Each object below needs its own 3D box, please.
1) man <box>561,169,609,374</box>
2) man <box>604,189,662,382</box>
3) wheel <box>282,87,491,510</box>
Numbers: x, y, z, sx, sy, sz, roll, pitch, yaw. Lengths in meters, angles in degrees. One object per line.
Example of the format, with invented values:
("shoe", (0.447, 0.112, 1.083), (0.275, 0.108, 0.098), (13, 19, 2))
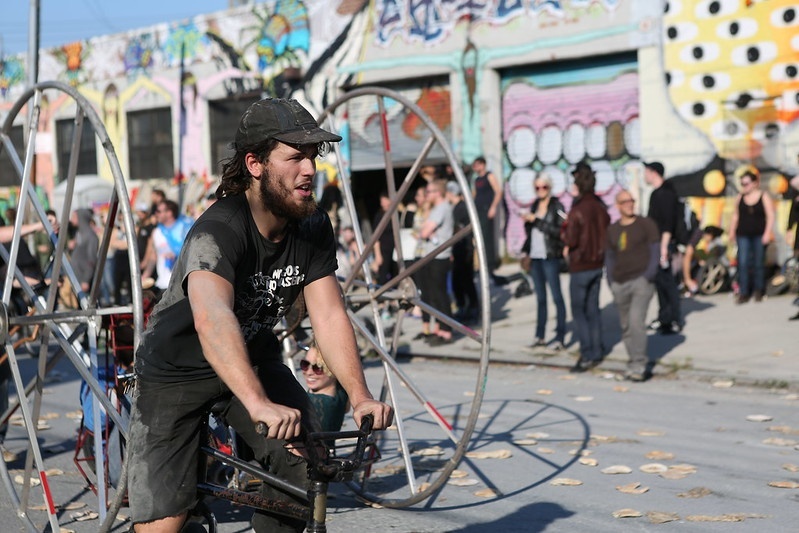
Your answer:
("man", (3.015, 0.002, 25.916), (0.725, 3.334, 0.456), (0, 3, 3))
("man", (3.702, 0.281, 25.362), (0.454, 3.021, 0.851), (-4, 5, -45))
("wheel", (-0.013, 0.640, 24.400), (5.212, 5.465, 5.468), (-3, -3, 0))
